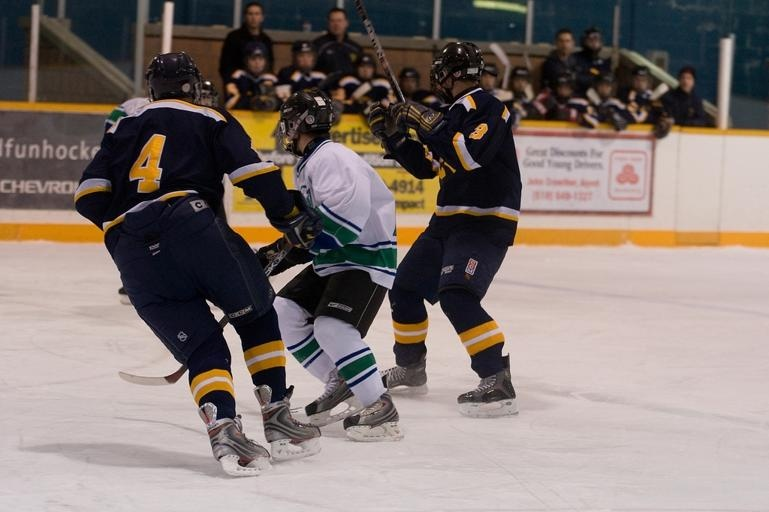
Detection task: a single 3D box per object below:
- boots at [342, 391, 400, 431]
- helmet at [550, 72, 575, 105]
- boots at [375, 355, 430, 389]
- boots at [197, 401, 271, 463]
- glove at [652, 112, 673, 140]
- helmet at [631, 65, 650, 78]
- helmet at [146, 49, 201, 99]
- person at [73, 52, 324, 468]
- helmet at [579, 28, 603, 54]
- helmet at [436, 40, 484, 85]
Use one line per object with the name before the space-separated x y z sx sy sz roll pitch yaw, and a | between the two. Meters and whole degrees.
boots | -0.022 0.884 5.465 0.461 0.260 0.153 -13 -8 41
helmet | 2.153 -1.997 11.385 0.263 0.368 0.195 3 6 5
boots | 0.129 0.763 6.197 0.388 0.225 0.132 -8 1 36
boots | -0.778 0.973 5.070 0.190 0.312 0.523 -16 -22 21
glove | 3.320 -1.547 11.354 0.157 0.300 0.257 13 -3 -35
helmet | 3.100 -2.234 11.553 0.237 0.073 0.210 1 1 -2
helmet | -1.133 -0.979 5.274 0.342 0.261 0.382 -1 6 13
person | -0.946 0.007 5.148 1.174 2.212 0.580 5 7 23
helmet | 2.523 -2.608 11.534 0.289 0.320 0.187 2 6 -2
helmet | 0.484 -1.230 6.150 0.388 0.248 0.311 0 7 39
